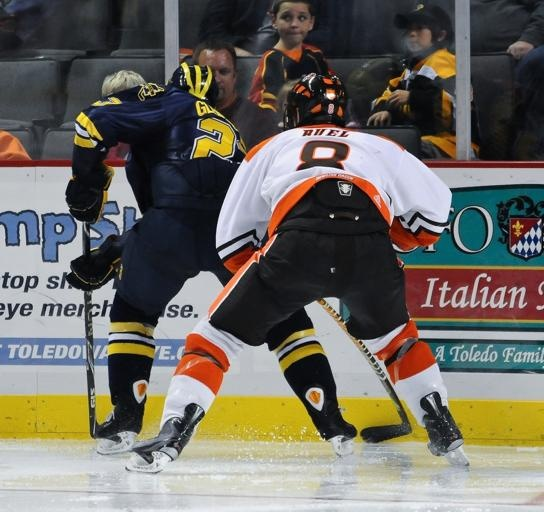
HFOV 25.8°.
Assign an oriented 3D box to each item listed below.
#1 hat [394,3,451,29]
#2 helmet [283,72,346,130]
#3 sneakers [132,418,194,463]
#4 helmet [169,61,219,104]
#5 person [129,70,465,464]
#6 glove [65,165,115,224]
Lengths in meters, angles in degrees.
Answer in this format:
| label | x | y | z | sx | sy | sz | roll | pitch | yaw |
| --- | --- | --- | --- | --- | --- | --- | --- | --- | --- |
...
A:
| label | x | y | z | sx | sy | sz | roll | pitch | yaw |
| --- | --- | --- | --- | --- | --- | --- | --- | --- | --- |
| hat | 0.733 | -1.157 | 5.758 | 0.232 | 0.082 | 0.126 | 6 | 7 | -7 |
| helmet | 0.162 | -0.659 | 5.036 | 0.257 | 0.229 | 0.265 | 1 | 21 | -7 |
| sneakers | -0.413 | 0.725 | 4.632 | 0.253 | 0.176 | 0.092 | -2 | 15 | -6 |
| helmet | -0.323 | -0.790 | 5.364 | 0.188 | 0.184 | 0.218 | 20 | 16 | -6 |
| person | 0.147 | 0.087 | 4.844 | 1.270 | 1.574 | 0.733 | -2 | 15 | -5 |
| glove | -0.797 | -0.264 | 5.219 | 0.205 | 0.249 | 0.118 | 27 | 27 | 13 |
